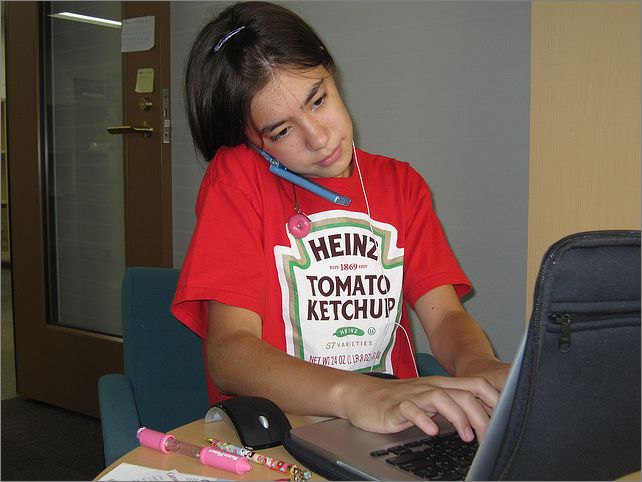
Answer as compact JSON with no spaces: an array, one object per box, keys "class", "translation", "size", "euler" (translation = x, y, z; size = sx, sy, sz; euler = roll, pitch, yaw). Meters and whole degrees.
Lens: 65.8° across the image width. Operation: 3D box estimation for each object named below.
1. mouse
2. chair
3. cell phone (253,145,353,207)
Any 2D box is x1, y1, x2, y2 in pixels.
[{"class":"mouse","translation":[-0.119,0.279,0.791],"size":[0.088,0.052,0.152],"euler":[2,-1,-39]},{"class":"chair","translation":[-0.262,0.288,1.371],"size":[0.626,0.619,0.645],"euler":[4,13,-26]},{"class":"cell phone","translation":[-0.033,-0.123,0.961],"size":[0.188,0.118,0.154],"euler":[0,17,3]}]
